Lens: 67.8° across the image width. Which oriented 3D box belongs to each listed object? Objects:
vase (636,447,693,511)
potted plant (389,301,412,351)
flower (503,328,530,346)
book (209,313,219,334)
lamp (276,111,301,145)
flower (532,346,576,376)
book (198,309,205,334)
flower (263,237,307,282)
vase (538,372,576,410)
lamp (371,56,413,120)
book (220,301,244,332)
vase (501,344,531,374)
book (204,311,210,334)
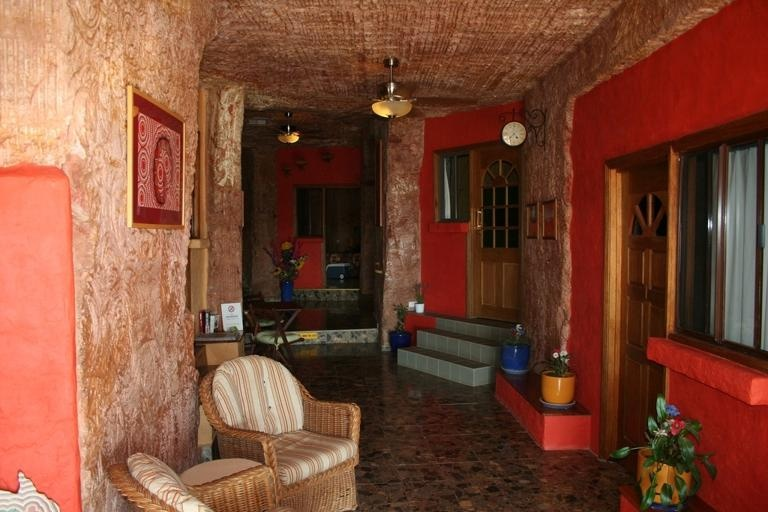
[{"bbox_3d":[1.762,1.434,3.793,0.340,0.359,0.362,0,0,-4],"label":"vase"},{"bbox_3d":[0.227,1.087,8.541,0.319,0.694,0.415,-1,6,-1],"label":"potted plant"},{"bbox_3d":[1.582,0.974,6.766,0.248,0.275,0.245,-1,8,-23],"label":"flower"},{"bbox_3d":[-1.746,0.681,5.874,0.067,0.205,0.318,-2,6,-12],"label":"book"},{"bbox_3d":[-1.549,-2.160,9.773,0.470,0.511,0.514,0,3,-28],"label":"lamp"},{"bbox_3d":[1.692,1.074,5.670,0.322,0.280,0.326,6,12,45],"label":"flower"},{"bbox_3d":[-1.843,0.664,5.773,0.073,0.190,0.203,0,2,-9],"label":"book"},{"bbox_3d":[-2.160,0.085,12.658,0.872,0.975,0.950,-1,-2,26],"label":"flower"},{"bbox_3d":[1.624,1.262,5.436,0.312,0.263,0.313,2,-3,3],"label":"vase"},{"bbox_3d":[0.067,-1.763,6.136,0.496,0.562,0.495,3,3,12],"label":"lamp"},{"bbox_3d":[-1.586,0.635,5.939,0.293,0.484,0.050,-2,-4,-5],"label":"book"},{"bbox_3d":[1.480,1.148,6.513,0.327,0.308,0.327,2,0,5],"label":"vase"},{"bbox_3d":[-1.778,0.665,5.749,0.061,0.193,0.044,-6,8,-39],"label":"book"}]
